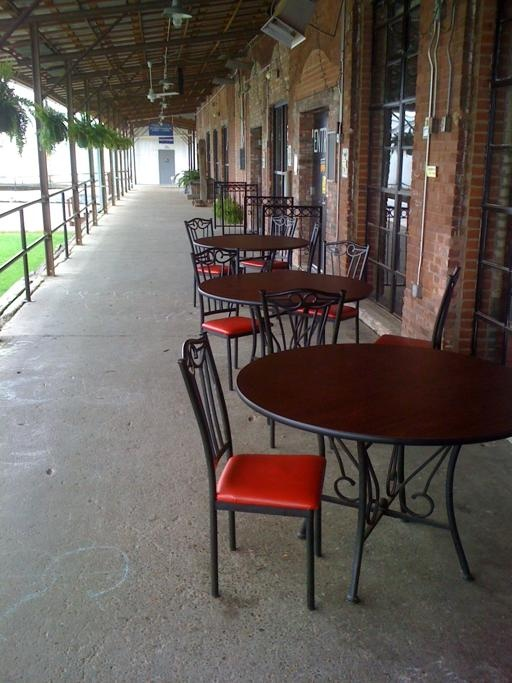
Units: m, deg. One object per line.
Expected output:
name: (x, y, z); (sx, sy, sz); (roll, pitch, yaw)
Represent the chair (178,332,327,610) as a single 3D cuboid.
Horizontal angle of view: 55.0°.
chair: (-0.025, 0.382, 1.586); (0.478, 0.753, 0.526); (3, 12, 11)
